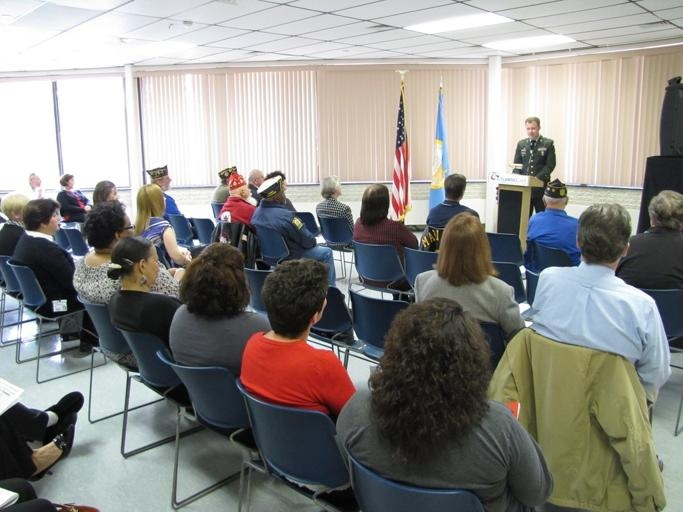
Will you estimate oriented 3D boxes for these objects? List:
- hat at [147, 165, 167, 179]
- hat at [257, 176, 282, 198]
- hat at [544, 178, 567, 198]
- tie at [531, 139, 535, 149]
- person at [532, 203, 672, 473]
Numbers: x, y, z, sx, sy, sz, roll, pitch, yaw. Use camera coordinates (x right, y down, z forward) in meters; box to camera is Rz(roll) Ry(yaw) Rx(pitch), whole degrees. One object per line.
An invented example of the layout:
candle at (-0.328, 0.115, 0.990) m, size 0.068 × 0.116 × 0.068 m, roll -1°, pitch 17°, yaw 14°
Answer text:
hat at (-2.400, -1.091, 6.505) m, size 0.250 × 0.156 × 0.212 m, roll -13°, pitch 16°, yaw -39°
hat at (-0.697, -0.715, 4.872) m, size 0.177 × 0.085 × 0.225 m, roll -8°, pitch 29°, yaw 40°
hat at (1.929, -0.607, 4.439) m, size 0.139 × 0.111 × 0.227 m, roll 3°, pitch 5°, yaw 17°
tie at (3.035, -1.776, 7.773) m, size 0.062 × 0.111 × 0.025 m, roll 0°, pitch -7°, yaw 33°
person at (1.203, 0.207, 2.291) m, size 0.544 × 0.848 × 0.400 m, roll -5°, pitch 14°, yaw -11°
